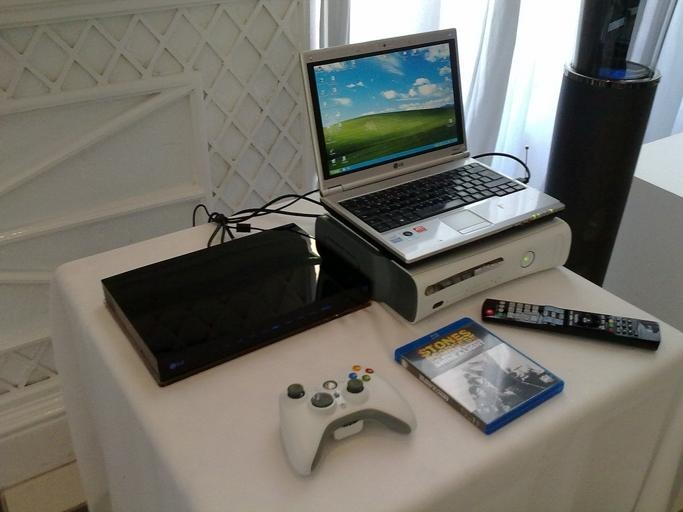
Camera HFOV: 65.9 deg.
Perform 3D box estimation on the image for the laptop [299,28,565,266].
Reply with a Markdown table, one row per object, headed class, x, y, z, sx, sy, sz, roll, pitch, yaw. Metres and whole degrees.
| class | x | y | z | sx | sy | sz | roll | pitch | yaw |
| --- | --- | --- | --- | --- | --- | --- | --- | --- | --- |
| laptop | 0.167 | -0.237 | 1.001 | 0.412 | 0.283 | 0.384 | -13 | 32 | -18 |
